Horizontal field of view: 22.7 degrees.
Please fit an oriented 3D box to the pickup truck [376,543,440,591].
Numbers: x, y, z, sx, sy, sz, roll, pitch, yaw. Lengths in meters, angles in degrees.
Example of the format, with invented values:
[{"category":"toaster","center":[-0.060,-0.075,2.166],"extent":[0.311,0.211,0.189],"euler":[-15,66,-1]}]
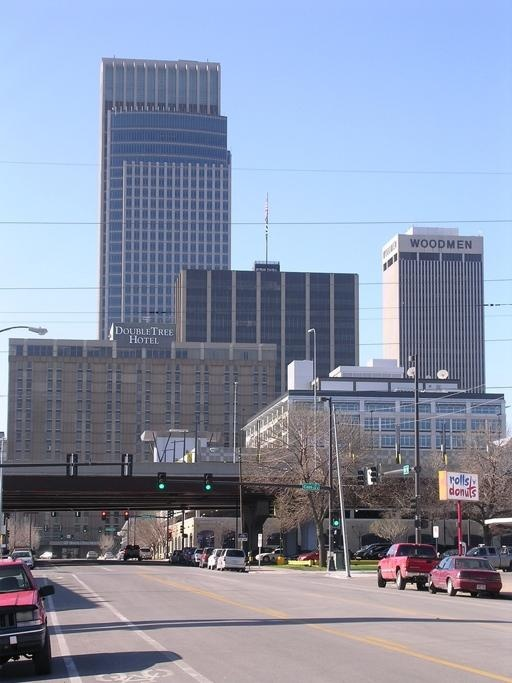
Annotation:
[{"category":"pickup truck","center":[5.310,7.855,44.142],"extent":[1.607,1.824,3.586],"euler":[7,-11,-10]}]
